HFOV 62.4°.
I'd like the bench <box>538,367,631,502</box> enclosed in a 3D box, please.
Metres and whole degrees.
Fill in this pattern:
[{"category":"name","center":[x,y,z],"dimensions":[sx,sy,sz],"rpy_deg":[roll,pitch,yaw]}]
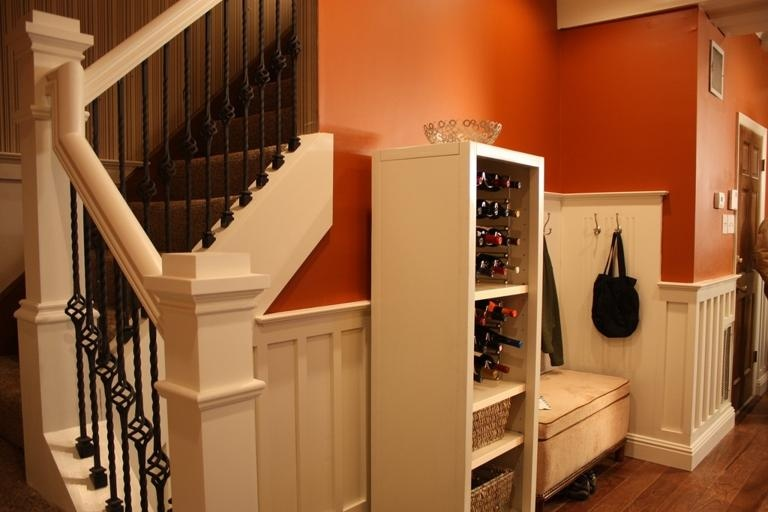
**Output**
[{"category":"bench","center":[1.303,1.182,4.315],"dimensions":[0.574,0.601,1.243],"rpy_deg":[4,10,35]}]

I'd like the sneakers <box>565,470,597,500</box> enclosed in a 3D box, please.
[{"category":"sneakers","center":[1.371,1.580,4.369],"dimensions":[0.258,0.114,0.144],"rpy_deg":[-7,8,-36]}]

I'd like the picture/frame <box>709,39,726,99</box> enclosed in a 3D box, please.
[{"category":"picture/frame","center":[2.599,-1.462,4.959],"dimensions":[0.032,0.501,0.475],"rpy_deg":[-2,-6,41]}]
